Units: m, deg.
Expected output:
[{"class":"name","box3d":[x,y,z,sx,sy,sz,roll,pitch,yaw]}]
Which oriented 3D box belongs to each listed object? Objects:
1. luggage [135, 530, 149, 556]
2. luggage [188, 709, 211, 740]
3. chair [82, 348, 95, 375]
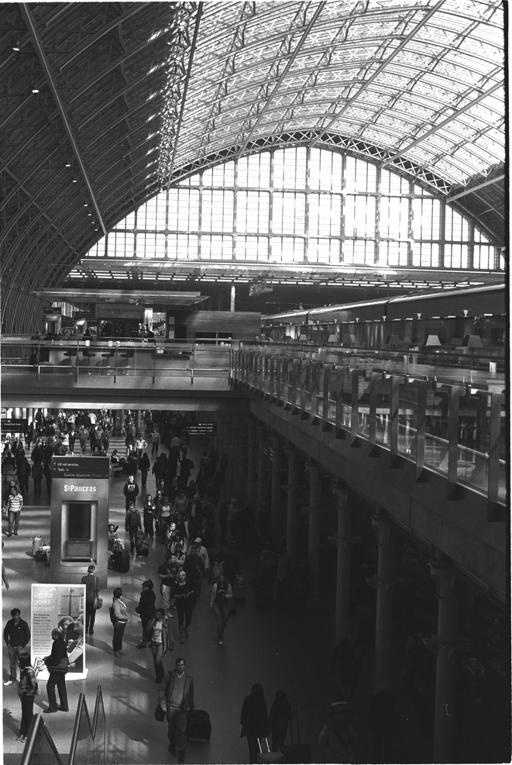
[{"class":"luggage","box3d":[-3.073,4.298,19.516,0.338,1.011,0.514,2,-1,0]},{"class":"luggage","box3d":[-0.749,4.528,9.499,0.258,0.412,0.570,0,-3,7]},{"class":"chair","box3d":[-5.845,-0.769,25.309,0.472,0.985,1.232,1,-3,-14]}]
